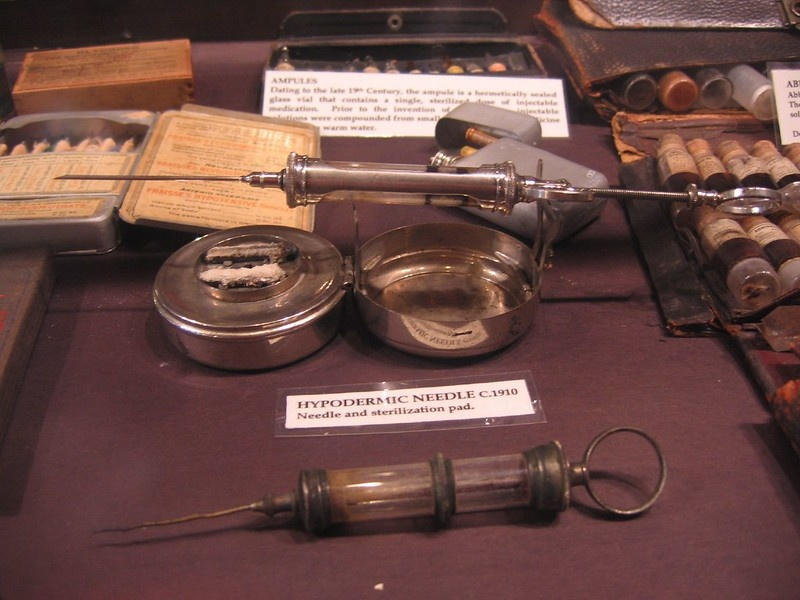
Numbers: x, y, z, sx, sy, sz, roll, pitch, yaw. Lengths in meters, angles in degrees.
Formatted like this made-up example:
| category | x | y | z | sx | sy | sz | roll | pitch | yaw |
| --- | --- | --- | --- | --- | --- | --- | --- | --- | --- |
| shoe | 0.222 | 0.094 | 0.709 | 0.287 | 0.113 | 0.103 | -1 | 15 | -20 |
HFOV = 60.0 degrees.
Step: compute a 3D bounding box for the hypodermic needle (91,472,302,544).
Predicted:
| category | x | y | z | sx | sy | sz | roll | pitch | yaw |
| --- | --- | --- | --- | --- | --- | --- | --- | --- | --- |
| hypodermic needle | -0.344 | 0.356 | 1.165 | 0.581 | 0.058 | 0.067 | -6 | 8 | 1 |
